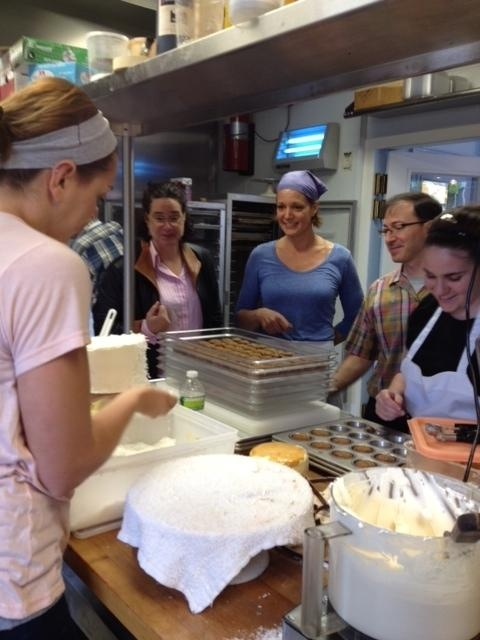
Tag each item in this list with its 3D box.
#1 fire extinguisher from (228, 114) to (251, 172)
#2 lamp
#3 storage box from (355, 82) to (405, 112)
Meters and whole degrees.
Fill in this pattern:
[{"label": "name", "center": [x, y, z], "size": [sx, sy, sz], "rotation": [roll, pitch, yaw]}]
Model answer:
[{"label": "fire extinguisher", "center": [0.011, -1.616, 4.712], "size": [0.211, 0.521, 0.327], "rotation": [2, 9, 6]}, {"label": "lamp", "center": [0.534, -1.395, 4.207], "size": [0.203, 0.356, 0.599], "rotation": [-6, 11, -39]}, {"label": "storage box", "center": [0.893, -1.417, 3.266], "size": [0.360, 0.155, 0.135], "rotation": [7, 11, 35]}]
